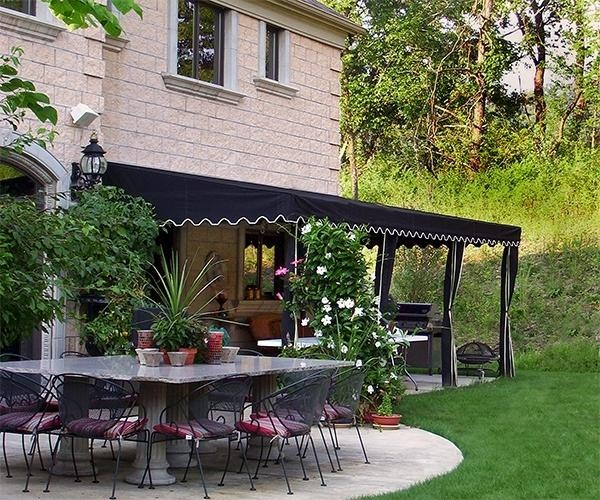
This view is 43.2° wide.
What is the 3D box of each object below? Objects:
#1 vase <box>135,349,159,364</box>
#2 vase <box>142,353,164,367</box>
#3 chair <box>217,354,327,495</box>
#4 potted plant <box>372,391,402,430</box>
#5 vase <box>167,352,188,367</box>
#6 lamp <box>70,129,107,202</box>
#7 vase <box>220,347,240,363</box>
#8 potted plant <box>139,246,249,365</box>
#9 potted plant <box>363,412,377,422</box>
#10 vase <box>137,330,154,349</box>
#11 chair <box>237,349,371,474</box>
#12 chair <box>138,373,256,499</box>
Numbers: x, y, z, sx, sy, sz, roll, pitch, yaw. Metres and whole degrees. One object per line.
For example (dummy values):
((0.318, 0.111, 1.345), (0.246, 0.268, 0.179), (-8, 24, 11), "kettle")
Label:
((-1.292, 0.921, 6.470), (0.170, 0.097, 0.144), (5, -11, -35), "vase")
((-1.247, 0.931, 6.438), (0.139, 0.102, 0.126), (3, -7, -24), "vase")
((-0.174, 1.550, 6.913), (0.863, 1.311, 0.948), (1, -2, 27), "chair")
((1.053, 1.984, 9.268), (0.360, 0.393, 0.375), (2, -5, 27), "potted plant")
((-1.046, 0.946, 6.528), (0.121, 0.098, 0.142), (-9, -10, 43), "vase")
((-2.651, -1.124, 9.558), (0.467, 0.780, 0.283), (-4, -8, 37), "lamp")
((-0.656, 0.977, 7.008), (0.132, 0.098, 0.154), (-8, -9, 35), "vase")
((-1.165, 0.582, 6.863), (0.791, 1.020, 0.789), (1, 1, 24), "potted plant")
((0.858, 2.074, 9.328), (0.114, 0.140, 0.111), (5, -3, -15), "potted plant")
((-1.353, 0.789, 6.622), (0.140, 0.143, 0.145), (-1, -4, 9), "vase")
((0.125, 1.439, 6.857), (1.008, 1.375, 1.034), (-1, -2, 36), "chair")
((-0.824, 1.655, 6.791), (0.925, 1.289, 0.985), (2, -3, 27), "chair")
